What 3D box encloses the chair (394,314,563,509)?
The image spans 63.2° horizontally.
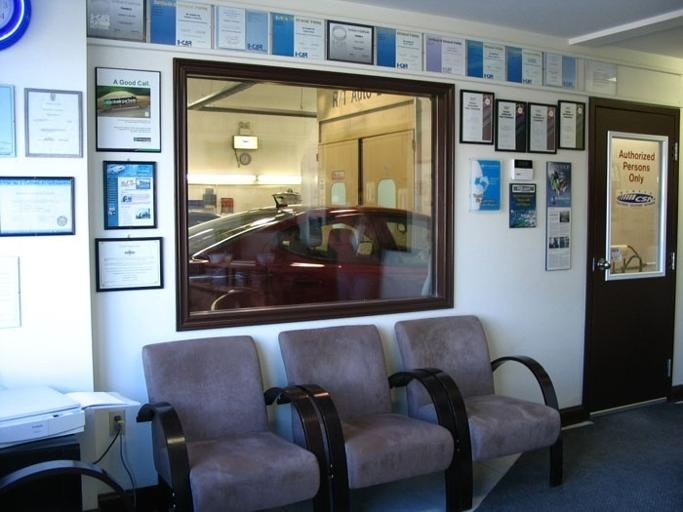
[{"bbox_3d":[1.042,0.970,4.014,1.023,1.274,1.118,0,-3,-29],"label":"chair"}]

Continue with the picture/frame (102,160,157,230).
[{"bbox_3d":[-1.275,-0.368,3.276,0.415,0.536,0.039,-1,2,-22],"label":"picture/frame"}]

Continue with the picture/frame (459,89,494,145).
[{"bbox_3d":[0.991,-1.052,4.161,0.444,0.528,0.037,0,0,-30],"label":"picture/frame"}]

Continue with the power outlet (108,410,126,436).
[{"bbox_3d":[-1.310,0.953,3.220,0.087,0.145,0.051,-5,8,-26],"label":"power outlet"}]

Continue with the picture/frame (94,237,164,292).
[{"bbox_3d":[-1.287,0.038,3.287,0.328,0.271,0.022,-1,2,-24],"label":"picture/frame"}]

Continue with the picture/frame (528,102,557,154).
[{"bbox_3d":[1.575,-1.026,4.406,0.430,0.493,0.034,0,0,-28],"label":"picture/frame"}]

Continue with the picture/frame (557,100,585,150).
[{"bbox_3d":[1.850,-1.076,4.520,0.433,0.499,0.036,0,0,-31],"label":"picture/frame"}]
